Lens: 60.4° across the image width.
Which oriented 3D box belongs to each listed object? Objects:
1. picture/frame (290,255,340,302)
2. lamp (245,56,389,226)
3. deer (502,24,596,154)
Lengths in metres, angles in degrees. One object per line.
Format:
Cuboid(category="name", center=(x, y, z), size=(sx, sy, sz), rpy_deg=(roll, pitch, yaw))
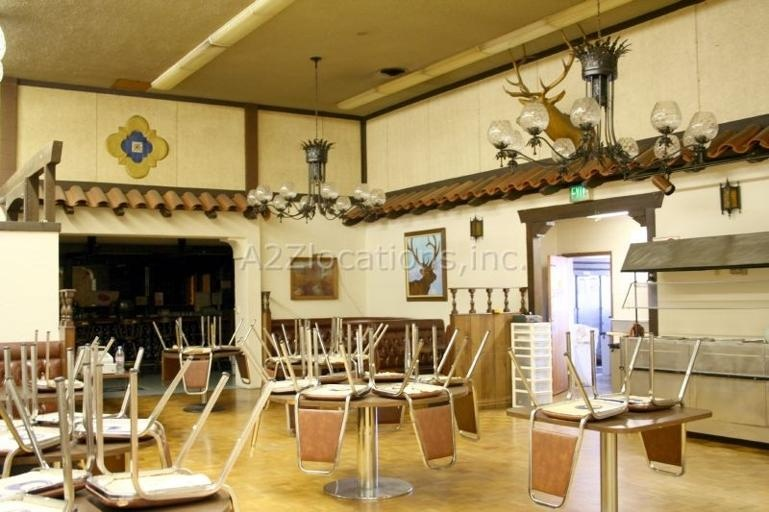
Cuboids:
Cuboid(category="picture/frame", center=(-1.380, 0.420, 12.431), size=(0.907, 0.740, 0.068), rpy_deg=(2, -6, -24))
Cuboid(category="lamp", center=(-1.081, -2.078, 10.153), size=(2.113, 3.057, 1.787), rpy_deg=(4, -6, -42))
Cuboid(category="deer", center=(2.101, -1.948, 8.668), size=(1.010, 1.332, 1.101), rpy_deg=(0, -2, -37))
